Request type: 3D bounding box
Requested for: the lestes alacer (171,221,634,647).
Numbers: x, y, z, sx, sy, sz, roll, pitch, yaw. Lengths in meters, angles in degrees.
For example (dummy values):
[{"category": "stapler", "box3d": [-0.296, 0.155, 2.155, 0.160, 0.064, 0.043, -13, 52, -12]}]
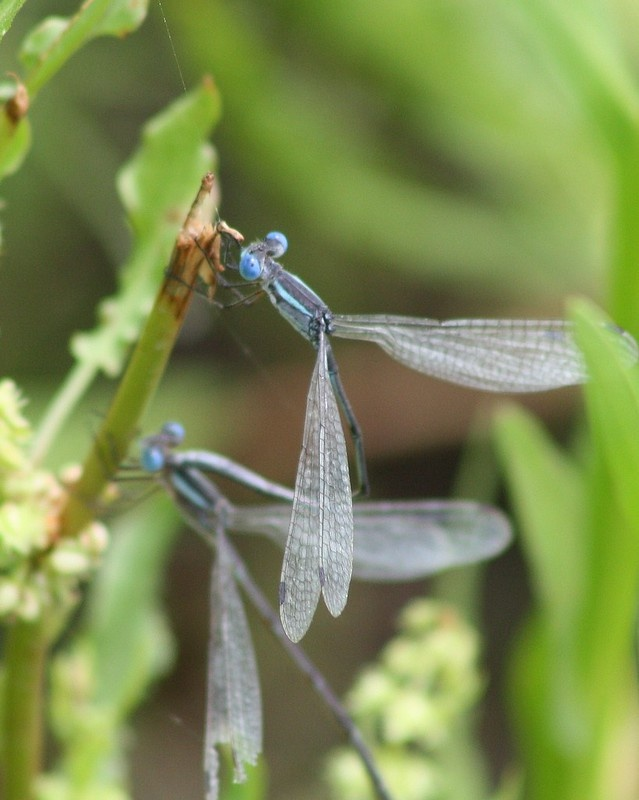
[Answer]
[{"category": "lestes alacer", "box3d": [0.069, -0.002, 0.703, 0.287, 0.207, 0.202, -12, 41, -24]}]
